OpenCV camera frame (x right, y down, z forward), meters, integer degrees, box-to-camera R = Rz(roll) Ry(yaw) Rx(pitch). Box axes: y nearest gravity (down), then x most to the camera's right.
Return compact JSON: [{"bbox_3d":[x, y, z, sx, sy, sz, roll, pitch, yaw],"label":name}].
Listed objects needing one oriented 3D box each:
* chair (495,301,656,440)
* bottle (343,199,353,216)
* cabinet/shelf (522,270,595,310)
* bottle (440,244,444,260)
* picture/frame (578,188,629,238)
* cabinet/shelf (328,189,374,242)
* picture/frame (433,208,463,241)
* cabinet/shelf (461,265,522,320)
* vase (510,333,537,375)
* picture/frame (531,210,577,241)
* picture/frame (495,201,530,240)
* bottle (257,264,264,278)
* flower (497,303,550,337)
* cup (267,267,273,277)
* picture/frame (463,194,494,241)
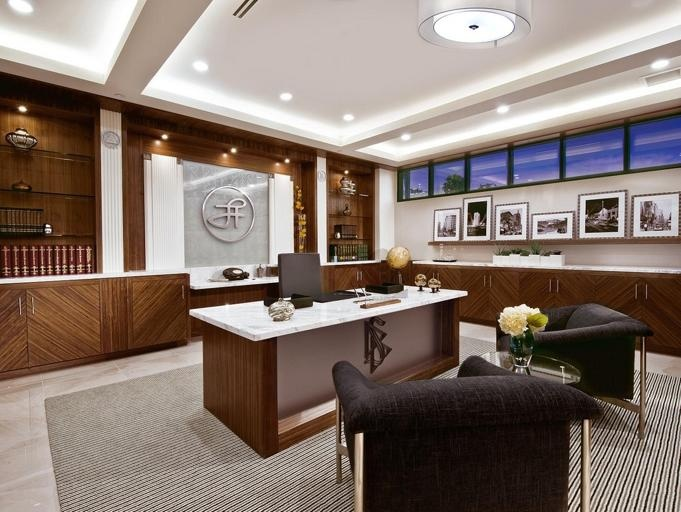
[{"bbox_3d":[2.351,0.870,4.351,1.192,1.211,1.422,0,-4,15],"label":"chair"},{"bbox_3d":[0.128,-0.996,8.845,0.167,0.332,0.445,0,2,5],"label":"bottle"},{"bbox_3d":[3.222,0.491,6.356,0.237,0.546,0.611,2,-4,-42],"label":"cabinet/shelf"},{"bbox_3d":[1.979,-0.098,8.532,0.079,0.285,0.222,0,2,12],"label":"bottle"},{"bbox_3d":[3.976,-0.650,6.520,0.079,0.940,0.799,2,-2,-39],"label":"picture/frame"},{"bbox_3d":[0.208,-0.827,8.877,1.098,0.972,0.342,-2,7,-28],"label":"cabinet/shelf"},{"bbox_3d":[2.101,-0.624,8.423,0.062,0.757,0.684,4,-3,-36],"label":"picture/frame"},{"bbox_3d":[2.652,0.690,7.511,1.151,1.058,0.390,6,18,43],"label":"cabinet/shelf"},{"bbox_3d":[1.539,0.788,3.745,0.234,0.414,0.231,-1,-7,18],"label":"vase"},{"bbox_3d":[3.479,-0.499,7.026,0.038,0.440,0.540,3,-2,-45],"label":"picture/frame"},{"bbox_3d":[2.984,-0.615,7.494,0.727,0.818,0.059,-1,-4,44],"label":"picture/frame"},{"bbox_3d":[-1.357,0.249,7.305,0.075,0.218,0.227,-2,-2,37],"label":"bottle"},{"bbox_3d":[1.568,0.481,3.664,0.338,0.226,0.330,-6,0,-40],"label":"flower"},{"bbox_3d":[-1.196,0.260,7.424,0.058,0.145,0.138,1,2,42],"label":"cup"},{"bbox_3d":[2.515,-0.710,7.978,0.075,0.781,0.571,-2,3,-43],"label":"picture/frame"}]
